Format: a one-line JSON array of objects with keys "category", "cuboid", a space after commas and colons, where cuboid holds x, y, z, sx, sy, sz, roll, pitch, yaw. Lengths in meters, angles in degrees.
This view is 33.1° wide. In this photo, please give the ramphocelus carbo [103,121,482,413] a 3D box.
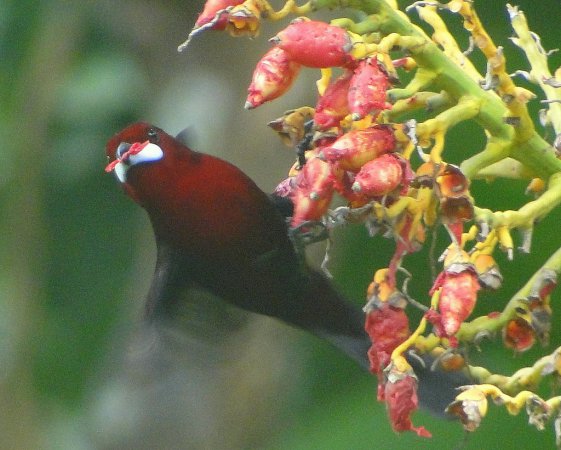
[{"category": "ramphocelus carbo", "cuboid": [-0.006, 0.033, 1.112, 0.467, 0.144, 0.294, 28, 57, 16]}]
